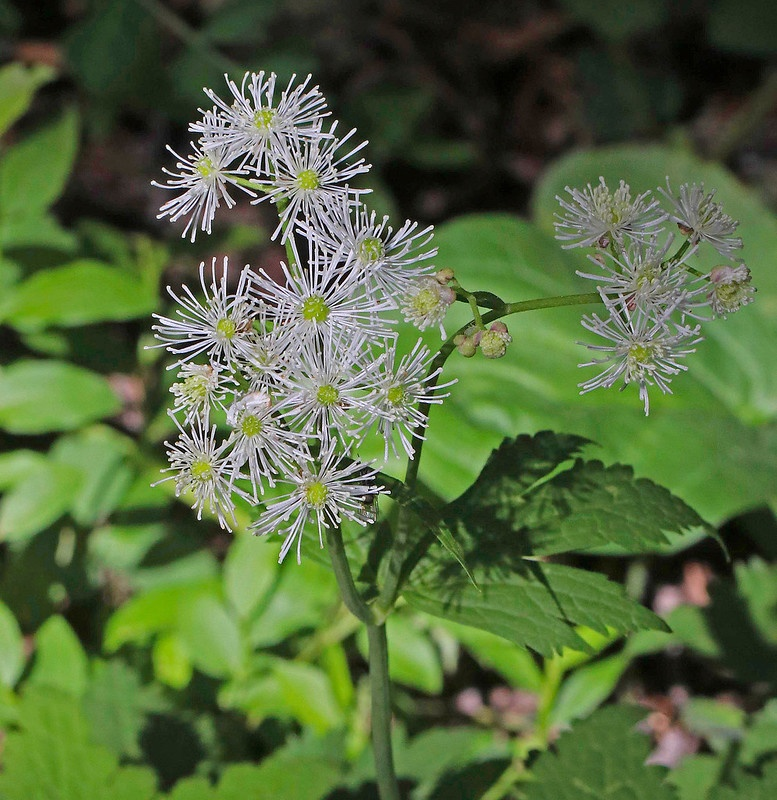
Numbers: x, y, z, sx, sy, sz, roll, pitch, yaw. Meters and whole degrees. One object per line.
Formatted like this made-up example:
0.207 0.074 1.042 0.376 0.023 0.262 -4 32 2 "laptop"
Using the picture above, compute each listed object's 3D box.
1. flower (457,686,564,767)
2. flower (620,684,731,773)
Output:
0.115 0.292 0.815 0.078 0.065 0.060 39 87 8 "flower"
0.273 0.310 0.834 0.112 0.041 0.067 6 75 -1 "flower"
